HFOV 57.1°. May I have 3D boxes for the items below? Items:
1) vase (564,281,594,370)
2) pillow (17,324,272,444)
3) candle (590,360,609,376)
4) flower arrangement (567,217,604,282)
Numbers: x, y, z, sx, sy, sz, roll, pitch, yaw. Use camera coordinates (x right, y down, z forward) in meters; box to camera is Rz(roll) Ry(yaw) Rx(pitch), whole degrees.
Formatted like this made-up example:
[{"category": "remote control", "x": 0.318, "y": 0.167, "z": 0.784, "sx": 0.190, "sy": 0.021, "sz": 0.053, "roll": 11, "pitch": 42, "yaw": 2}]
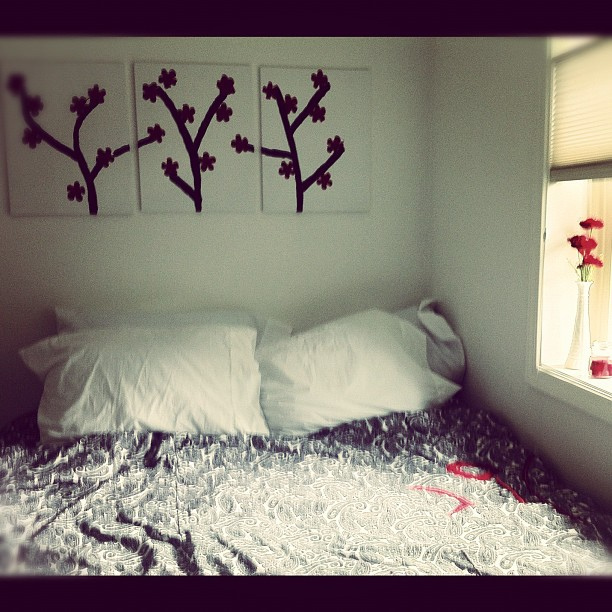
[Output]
[{"category": "vase", "x": 0.570, "y": 0.036, "z": 1.170, "sx": 0.046, "sy": 0.174, "sz": 0.096, "roll": 7, "pitch": 14, "yaw": 28}, {"category": "pillow", "x": -0.345, "y": 0.156, "z": 1.304, "sx": 0.418, "sy": 0.284, "sz": 0.120, "roll": -8, "pitch": -4, "yaw": -5}, {"category": "candle", "x": 0.578, "y": 0.122, "z": 1.111, "sx": 0.032, "sy": 0.027, "sz": 0.020, "roll": 7, "pitch": 15, "yaw": 28}, {"category": "flower arrangement", "x": 0.581, "y": -0.116, "z": 1.156, "sx": 0.092, "sy": 0.128, "sz": 0.057, "roll": -2, "pitch": 13, "yaw": -7}]
